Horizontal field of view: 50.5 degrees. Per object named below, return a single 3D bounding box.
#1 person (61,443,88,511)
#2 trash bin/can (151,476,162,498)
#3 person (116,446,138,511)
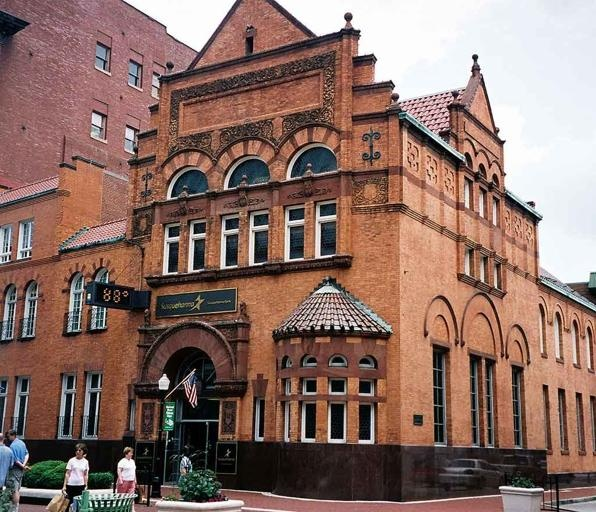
[{"bbox_3d":[-4.617,4.592,13.117,0.452,1.337,1.150,7,-21,-18],"label":"person"},{"bbox_3d":[-4.290,6.965,19.037,0.263,0.576,0.721,5,-21,-13],"label":"trash bin/can"},{"bbox_3d":[-3.705,4.621,13.664,0.398,0.941,0.824,6,-21,-14],"label":"person"}]
